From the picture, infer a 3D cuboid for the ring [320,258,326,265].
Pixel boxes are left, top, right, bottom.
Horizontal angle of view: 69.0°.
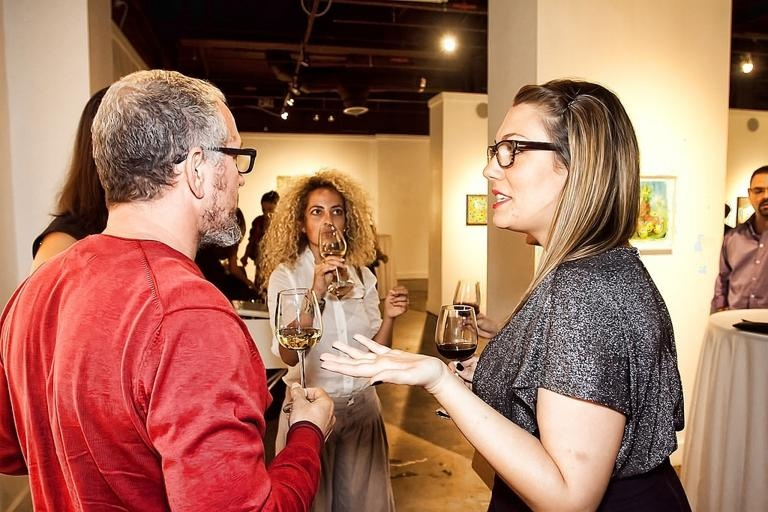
[{"bbox_3d":[-0.343,0.024,3.154,0.036,0.052,0.018,-3,0,-15],"label":"ring"}]
